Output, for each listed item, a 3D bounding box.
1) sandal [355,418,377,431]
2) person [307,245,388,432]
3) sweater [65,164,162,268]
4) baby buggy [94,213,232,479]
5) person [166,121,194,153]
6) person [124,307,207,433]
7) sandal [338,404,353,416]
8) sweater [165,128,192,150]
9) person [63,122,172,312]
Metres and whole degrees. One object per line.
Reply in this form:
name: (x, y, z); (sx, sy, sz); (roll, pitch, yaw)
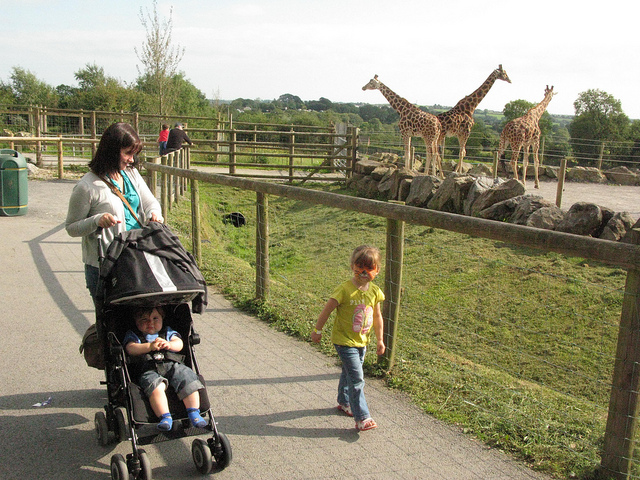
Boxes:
sandal: (0.361, 1.448, 4.442); (0.072, 0.075, 0.156); (2, -13, -32)
person: (0.282, 0.674, 4.948); (0.744, 1.430, 1.284); (4, 11, 0)
sweater: (-1.688, -0.240, 4.404); (0.462, 1.138, 0.421); (0, 6, -19)
baby buggy: (-1.203, 0.783, 4.090); (0.839, 1.619, 0.969); (-1, 12, -23)
person: (-4.121, -2.773, 16.160); (0.512, 1.252, 0.707); (8, 3, 18)
person: (-1.181, 0.882, 4.198); (0.428, 0.520, 1.072); (0, 36, -33)
sandal: (0.199, 1.409, 4.696); (0.135, 0.057, 0.045); (19, 12, 34)
sweater: (-4.149, -2.822, 15.987); (0.543, 0.402, 0.692); (-1, -6, -6)
person: (-1.626, -0.256, 4.441); (0.709, 1.306, 0.614); (-2, 13, -28)
